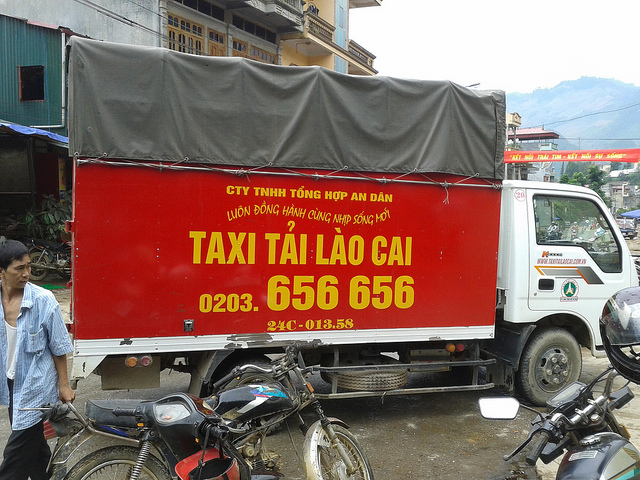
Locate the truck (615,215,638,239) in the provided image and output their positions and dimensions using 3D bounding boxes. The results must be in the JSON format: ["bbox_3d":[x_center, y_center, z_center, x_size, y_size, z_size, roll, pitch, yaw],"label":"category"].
[{"bbox_3d":[14.576,-0.747,33.944,1.210,1.372,2.200,3,8,28],"label":"truck"}]

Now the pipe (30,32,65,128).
[{"bbox_3d":[-6.238,-3.871,16.923,0.913,2.260,0.501,9,14,37],"label":"pipe"}]
